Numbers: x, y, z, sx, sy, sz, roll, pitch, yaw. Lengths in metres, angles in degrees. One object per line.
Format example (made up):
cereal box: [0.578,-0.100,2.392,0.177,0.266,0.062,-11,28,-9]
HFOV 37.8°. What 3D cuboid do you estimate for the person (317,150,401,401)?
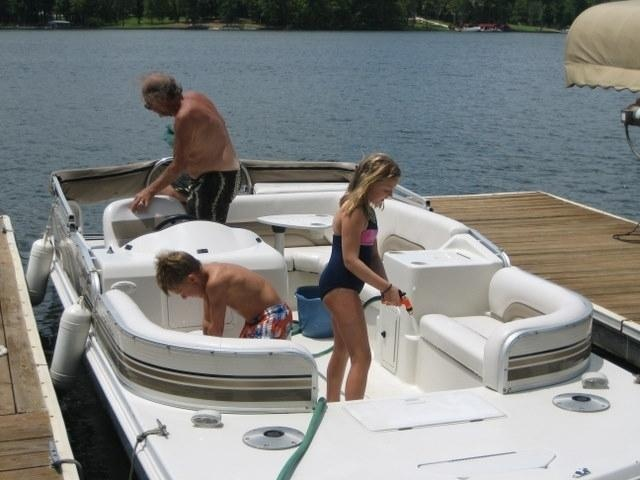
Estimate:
person: [0.240,0.261,5.550,0.481,1.518,0.544,0,15,0]

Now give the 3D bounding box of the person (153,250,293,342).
person: [-0.566,0.346,5.560,0.763,0.554,0.208,-4,15,-15]

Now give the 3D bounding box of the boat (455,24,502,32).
boat: [14.922,-19.774,86.793,3.918,0.825,1.424,7,16,20]

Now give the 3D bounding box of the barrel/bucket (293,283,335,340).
barrel/bucket: [-0.044,0.512,6.785,0.346,0.326,0.335,-1,0,0]

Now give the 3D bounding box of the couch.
couch: [0.369,0.460,6.269,1.625,0.692,2.185,-4,10,-21]
